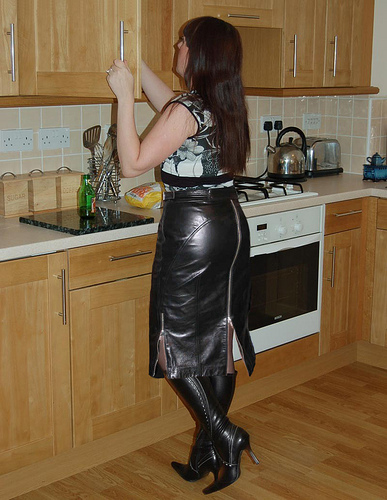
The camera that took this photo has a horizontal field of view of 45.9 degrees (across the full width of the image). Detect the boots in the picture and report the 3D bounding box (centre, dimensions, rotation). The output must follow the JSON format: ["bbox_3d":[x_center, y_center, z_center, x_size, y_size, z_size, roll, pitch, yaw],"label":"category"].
[{"bbox_3d":[0.028,0.605,1.627,0.331,0.411,0.338,0,16,-13],"label":"boots"}]

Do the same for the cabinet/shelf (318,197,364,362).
[{"bbox_3d":[0.742,0.159,2.632,0.306,0.857,0.283,-16,21,-38],"label":"cabinet/shelf"}]

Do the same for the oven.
[{"bbox_3d":[0.300,0.109,2.317,0.558,0.658,0.475,-11,15,-40],"label":"oven"}]

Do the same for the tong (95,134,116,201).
[{"bbox_3d":[-0.388,-0.357,1.991,0.094,0.283,0.068,15,24,19],"label":"tong"}]

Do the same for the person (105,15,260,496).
[{"bbox_3d":[-0.010,0.115,1.487,0.467,1.475,0.495,-5,9,-29],"label":"person"}]

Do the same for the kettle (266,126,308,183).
[{"bbox_3d":[0.529,-0.536,2.651,0.234,0.335,0.219,-12,22,-32],"label":"kettle"}]

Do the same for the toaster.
[{"bbox_3d":[0.805,-0.606,2.965,0.290,0.224,0.176,-11,18,-26],"label":"toaster"}]
